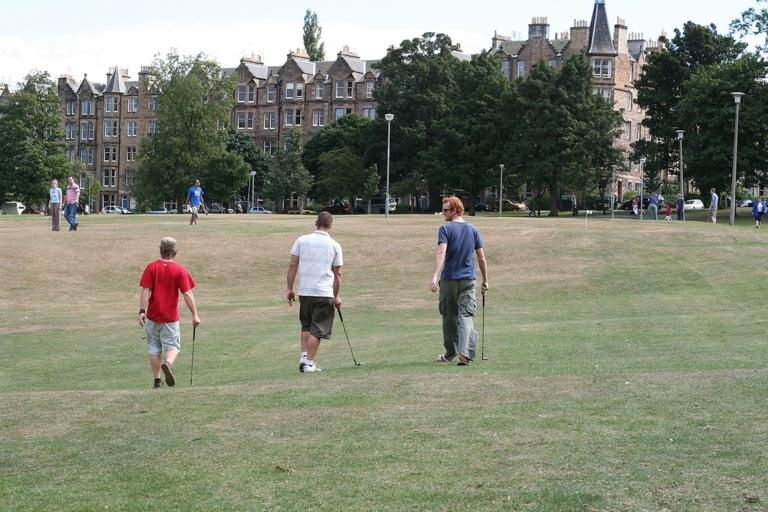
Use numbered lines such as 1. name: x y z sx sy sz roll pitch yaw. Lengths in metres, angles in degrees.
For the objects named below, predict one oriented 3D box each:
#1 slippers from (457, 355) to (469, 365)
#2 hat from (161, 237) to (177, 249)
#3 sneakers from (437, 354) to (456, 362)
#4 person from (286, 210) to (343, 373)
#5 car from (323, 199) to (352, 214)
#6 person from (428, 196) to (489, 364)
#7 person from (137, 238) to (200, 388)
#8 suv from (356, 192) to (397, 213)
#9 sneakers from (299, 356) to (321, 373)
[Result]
1. slippers: 1.618 2.088 23.370 0.244 0.184 0.235 0 10 3
2. hat: -4.363 -0.281 23.223 0.322 0.139 0.411 1 10 -10
3. sneakers: 1.278 2.087 23.716 0.264 0.096 0.168 4 0 -5
4. person: -1.417 0.726 23.571 1.107 3.252 1.298 -1 11 -4
5. car: -4.943 -4.425 104.965 3.293 1.375 1.679 5 7 21
6. person: 1.533 0.482 23.602 1.108 3.311 1.166 1 11 6
7. person: -4.329 1.092 23.030 1.084 2.858 0.891 -5 12 -25
8. suv: -0.823 -4.773 107.768 3.892 1.567 2.086 5 7 13
9. sneakers: -1.499 2.207 23.410 0.213 0.233 0.597 3 3 28
